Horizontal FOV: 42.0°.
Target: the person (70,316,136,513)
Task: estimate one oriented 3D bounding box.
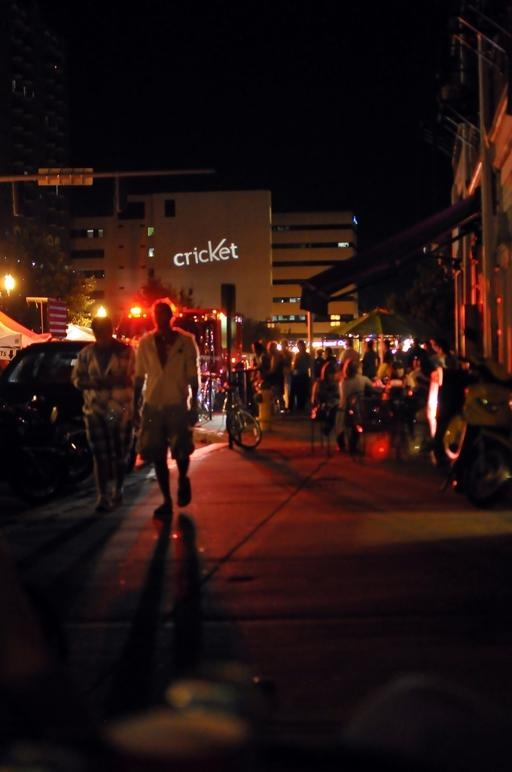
[{"bbox_3d":[-1.726,0.323,8.035,0.934,2.283,0.760,-1,0,16],"label":"person"}]

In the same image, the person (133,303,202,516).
[{"bbox_3d":[-0.989,0.253,7.456,0.707,2.435,0.497,-1,0,-8],"label":"person"}]

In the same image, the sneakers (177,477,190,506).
[{"bbox_3d":[-0.820,1.159,7.599,0.119,0.379,0.132,-4,-31,5],"label":"sneakers"}]

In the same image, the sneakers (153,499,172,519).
[{"bbox_3d":[-1.024,1.370,7.454,0.195,0.229,0.138,-7,3,-23],"label":"sneakers"}]

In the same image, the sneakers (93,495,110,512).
[{"bbox_3d":[-1.798,1.382,7.854,0.086,0.137,0.278,2,3,3],"label":"sneakers"}]
